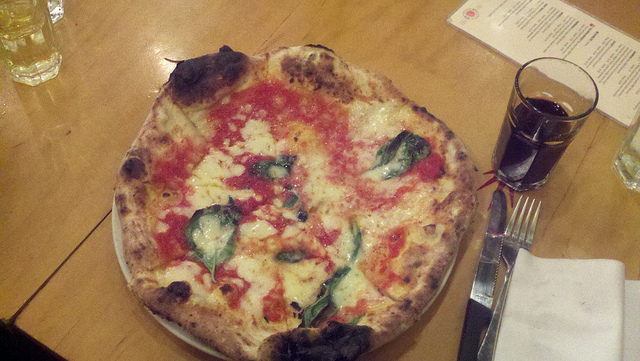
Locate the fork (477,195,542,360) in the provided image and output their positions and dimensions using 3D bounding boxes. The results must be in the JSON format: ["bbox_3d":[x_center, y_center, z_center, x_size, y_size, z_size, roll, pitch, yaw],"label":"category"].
[{"bbox_3d":[0.649,0.355,2.196,0.076,0.066,0.560,18,73,16],"label":"fork"}]

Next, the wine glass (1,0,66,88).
[{"bbox_3d":[-1.112,-0.515,2.472,0.202,0.262,0.202,22,37,-5],"label":"wine glass"}]

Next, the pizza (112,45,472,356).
[{"bbox_3d":[-0.096,0.066,2.231,1.176,0.381,1.058,27,59,4],"label":"pizza"}]

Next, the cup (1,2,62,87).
[{"bbox_3d":[-1.118,-0.517,2.467,0.193,0.291,0.199,10,39,-8],"label":"cup"}]
